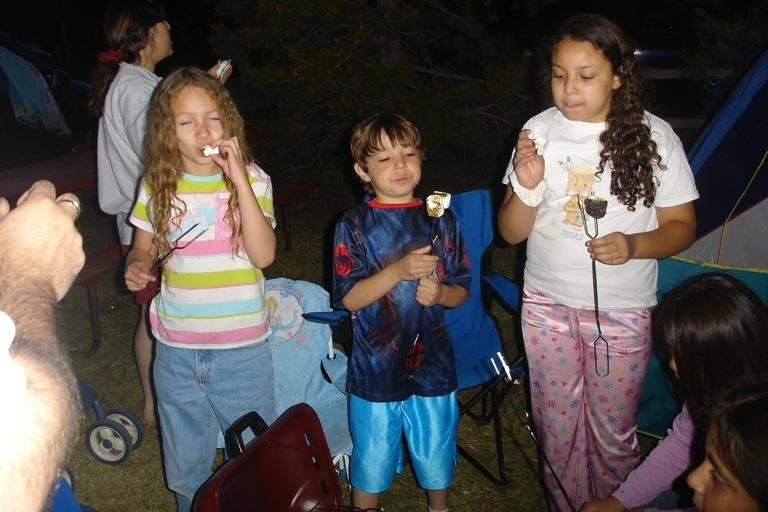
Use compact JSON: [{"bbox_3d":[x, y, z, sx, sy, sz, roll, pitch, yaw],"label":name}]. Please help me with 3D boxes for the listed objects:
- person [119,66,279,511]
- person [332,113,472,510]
[{"bbox_3d":[-0.820,0.191,2.778,0.674,1.970,0.719,-7,26,-11],"label":"person"},{"bbox_3d":[0.096,0.405,2.801,0.649,1.967,0.802,-4,25,-4],"label":"person"}]
